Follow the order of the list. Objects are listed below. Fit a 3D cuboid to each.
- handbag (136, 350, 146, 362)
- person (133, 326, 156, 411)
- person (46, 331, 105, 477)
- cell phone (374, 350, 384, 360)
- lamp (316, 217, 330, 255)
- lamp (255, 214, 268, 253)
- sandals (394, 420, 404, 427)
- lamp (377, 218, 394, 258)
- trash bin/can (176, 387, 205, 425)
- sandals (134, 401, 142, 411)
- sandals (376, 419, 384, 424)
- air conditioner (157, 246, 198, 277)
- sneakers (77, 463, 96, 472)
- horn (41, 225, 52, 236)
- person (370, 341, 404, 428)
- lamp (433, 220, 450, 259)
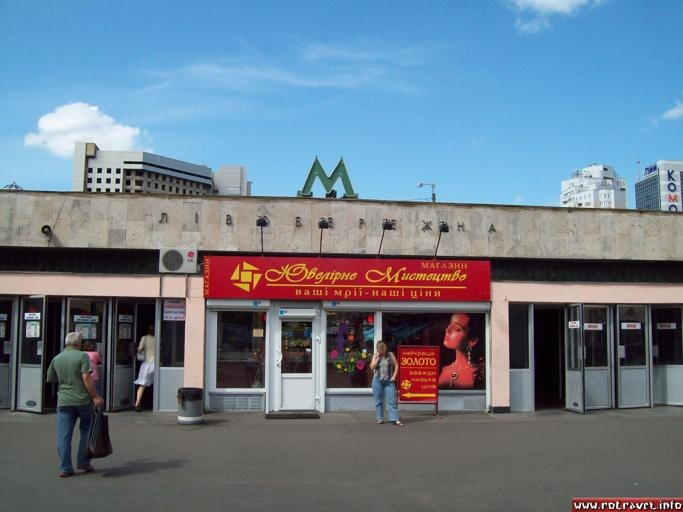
[{"bbox_3d":[-5.604,2.832,24.211,0.202,0.315,0.119,-1,-6,4],"label":"handbag"},{"bbox_3d":[-5.503,3.201,24.186,0.580,2.264,1.233,0,3,-13],"label":"person"},{"bbox_3d":[-5.347,3.002,17.493,0.922,2.715,0.886,-1,3,-20],"label":"person"},{"bbox_3d":[0.899,2.644,22.659,0.156,0.235,0.075,3,-19,-11],"label":"cell phone"},{"bbox_3d":[-0.523,-0.480,24.307,0.319,1.090,0.589,0,3,0],"label":"lamp"},{"bbox_3d":[-2.230,-0.525,24.210,0.345,1.106,0.538,0,3,-3],"label":"lamp"},{"bbox_3d":[1.440,4.265,22.076,0.245,0.122,0.499,1,3,2],"label":"sandals"},{"bbox_3d":[1.252,-0.443,24.582,0.506,1.082,0.446,1,3,2],"label":"lamp"},{"bbox_3d":[-3.789,3.807,21.871,0.684,0.818,0.817,1,-5,-13],"label":"trash bin/can"},{"bbox_3d":[-5.657,4.224,24.072,0.129,0.177,0.309,0,-31,-5],"label":"sandals"},{"bbox_3d":[0.963,4.246,22.211,0.188,0.135,0.325,1,3,1],"label":"sandals"},{"bbox_3d":[-4.507,0.187,23.953,1.059,0.822,0.636,0,-11,-7],"label":"air conditioner"},{"bbox_3d":[-5.146,4.285,17.513,0.372,0.175,0.142,3,-3,-11],"label":"sneakers"},{"bbox_3d":[-8.191,-0.658,24.082,0.198,0.337,0.282,2,-1,-24],"label":"horn"},{"bbox_3d":[1.161,3.314,22.549,0.815,2.084,1.190,1,3,2],"label":"person"},{"bbox_3d":[2.822,-0.414,24.660,0.440,1.030,0.462,0,3,1],"label":"lamp"}]
